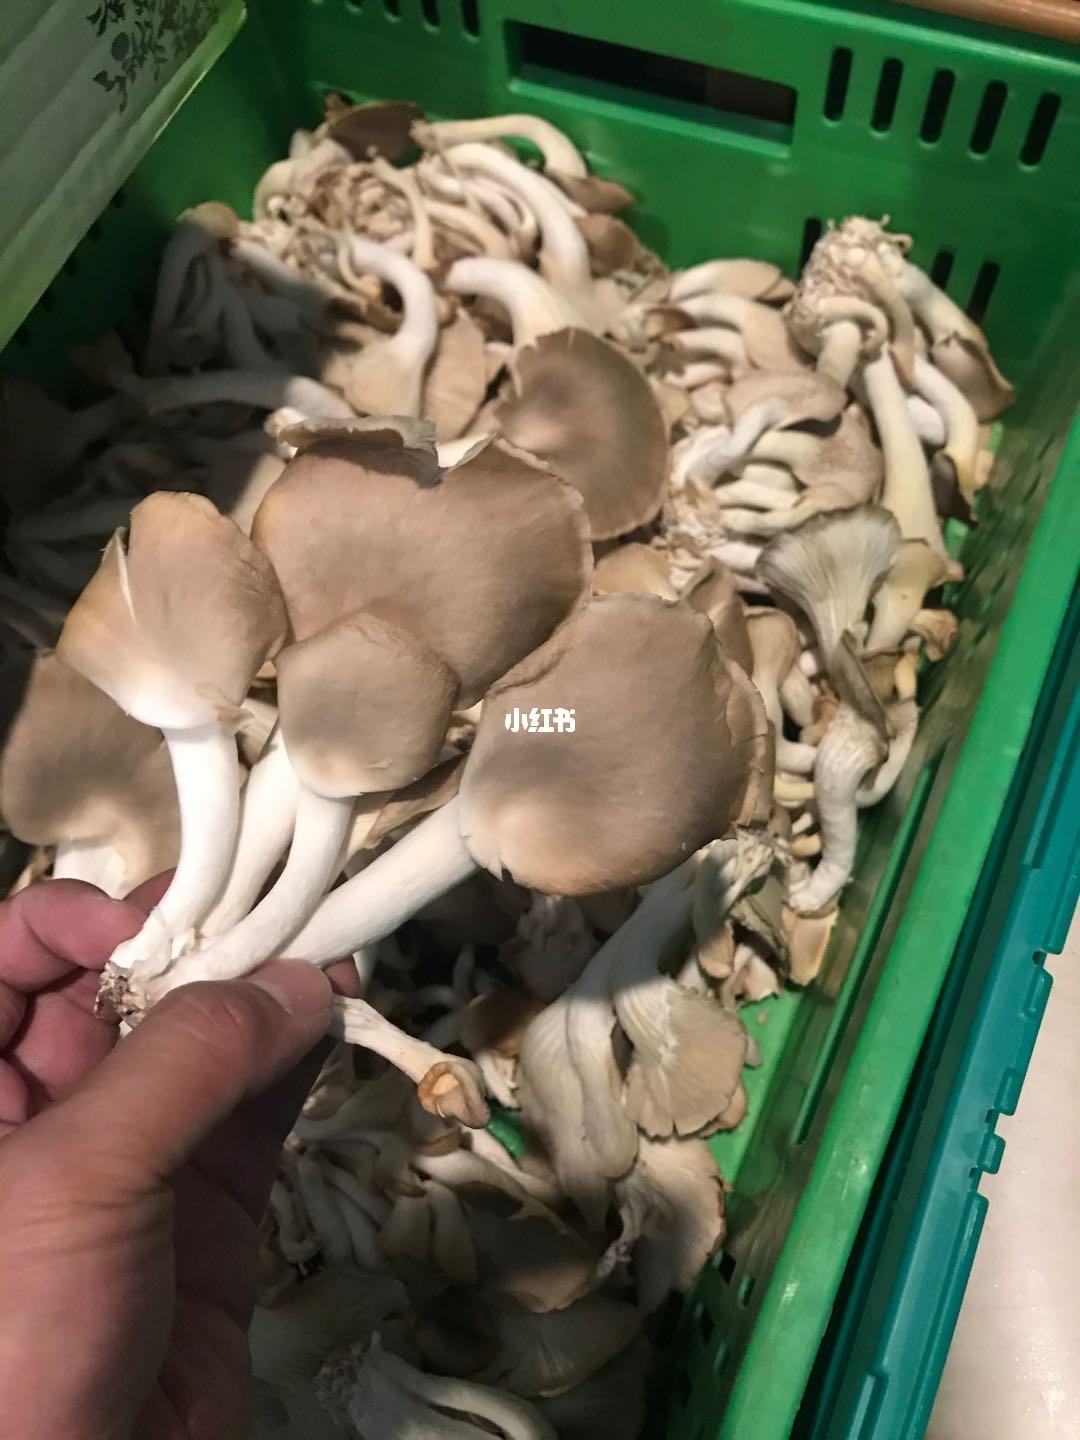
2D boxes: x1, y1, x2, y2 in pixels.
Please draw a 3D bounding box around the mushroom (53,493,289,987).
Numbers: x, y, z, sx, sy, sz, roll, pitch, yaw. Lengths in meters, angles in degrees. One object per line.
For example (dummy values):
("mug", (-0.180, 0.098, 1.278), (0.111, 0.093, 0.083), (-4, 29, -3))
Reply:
("mushroom", (-0.330, 0.011, 1.197), (0.241, 0.109, 0.403), (15, -67, 1))
